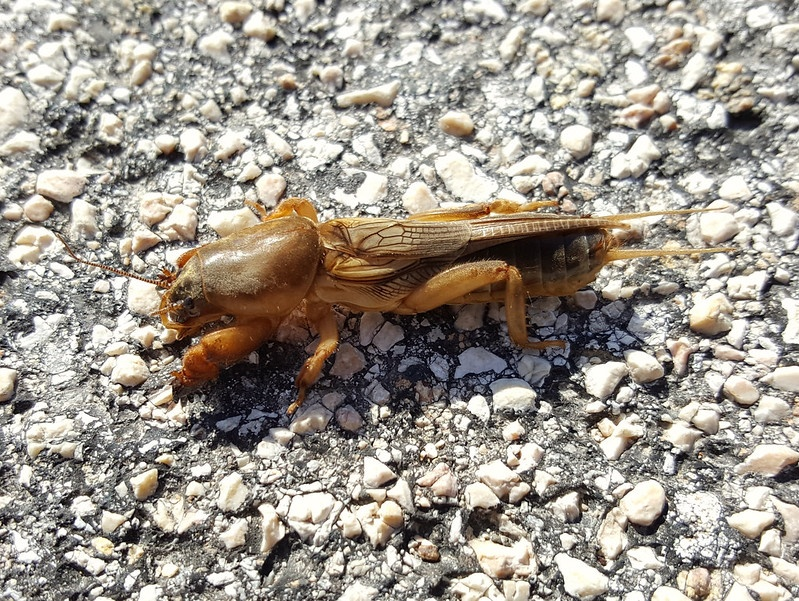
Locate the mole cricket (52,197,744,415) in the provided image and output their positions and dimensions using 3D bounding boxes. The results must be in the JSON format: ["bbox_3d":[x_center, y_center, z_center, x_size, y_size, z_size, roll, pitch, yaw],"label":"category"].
[{"bbox_3d":[-0.077,-0.109,3.665,2.141,0.345,0.840,-8,81,-3],"label":"mole cricket"}]
